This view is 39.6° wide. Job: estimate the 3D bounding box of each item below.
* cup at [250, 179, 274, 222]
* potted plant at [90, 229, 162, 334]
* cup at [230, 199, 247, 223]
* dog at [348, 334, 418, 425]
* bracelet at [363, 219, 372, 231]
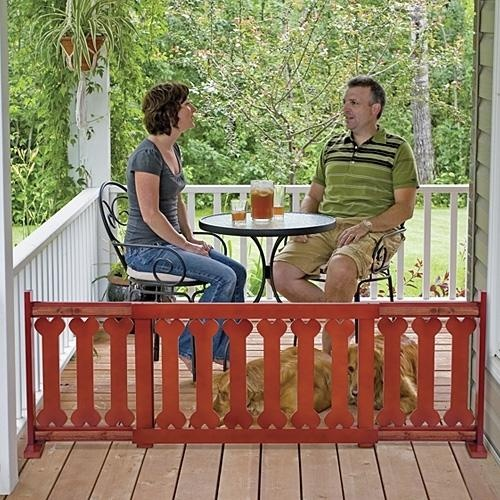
[{"bbox_3d":[0.063,-0.226,3.360,0.164,0.199,0.164,-1,0,0],"label":"cup"},{"bbox_3d":[-0.703,0.207,4.180,0.422,0.455,0.284,13,5,41],"label":"potted plant"},{"bbox_3d":[-0.041,-0.183,3.291,0.096,0.138,0.090,0,0,0],"label":"cup"},{"bbox_3d":[0.583,0.518,3.063,0.300,0.405,0.685,2,10,13],"label":"dog"},{"bbox_3d":[0.607,-0.123,3.564,0.020,0.053,0.040,-1,4,-18],"label":"bracelet"}]
